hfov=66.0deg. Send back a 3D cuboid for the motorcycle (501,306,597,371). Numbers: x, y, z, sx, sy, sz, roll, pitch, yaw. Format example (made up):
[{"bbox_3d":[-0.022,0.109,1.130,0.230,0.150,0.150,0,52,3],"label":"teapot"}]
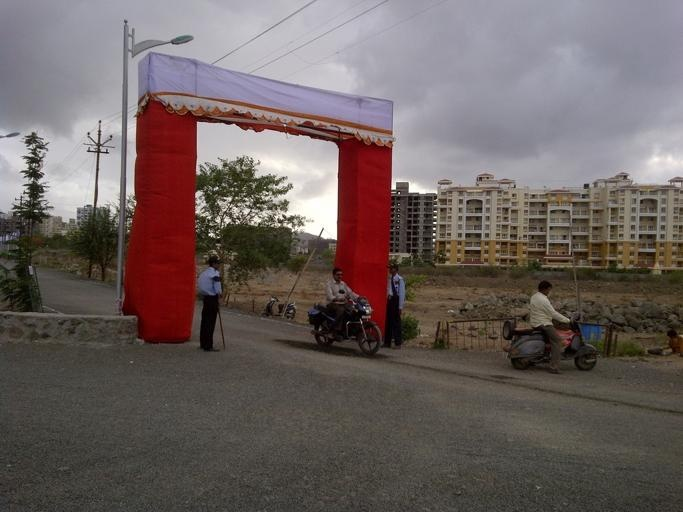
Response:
[{"bbox_3d":[4.895,1.981,12.550,1.990,1.418,1.158,-1,5,-9],"label":"motorcycle"}]

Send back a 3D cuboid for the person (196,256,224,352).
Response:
[{"bbox_3d":[-3.069,1.088,12.123,0.501,2.241,1.409,0,6,-15],"label":"person"}]

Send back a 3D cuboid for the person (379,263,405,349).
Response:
[{"bbox_3d":[1.513,1.373,15.142,0.528,2.498,1.295,2,6,5],"label":"person"}]

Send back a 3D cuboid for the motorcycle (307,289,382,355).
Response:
[{"bbox_3d":[0.128,1.781,13.549,2.080,1.498,0.764,7,8,40],"label":"motorcycle"}]

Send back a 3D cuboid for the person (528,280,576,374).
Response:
[{"bbox_3d":[4.718,1.606,11.998,0.819,2.124,0.908,5,7,27],"label":"person"}]
